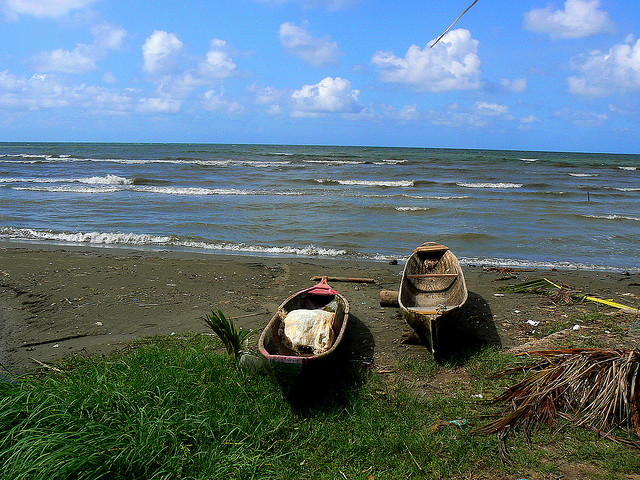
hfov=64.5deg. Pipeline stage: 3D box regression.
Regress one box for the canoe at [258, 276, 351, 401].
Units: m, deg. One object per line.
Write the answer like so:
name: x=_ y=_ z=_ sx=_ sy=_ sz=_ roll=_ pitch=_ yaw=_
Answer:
canoe: x=-0.181 y=1.531 z=7.869 sx=1.155 sy=0.768 sz=2.764 roll=1 pitch=9 yaw=7

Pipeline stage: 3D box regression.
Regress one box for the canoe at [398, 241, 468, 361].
canoe: x=2.126 y=0.977 z=9.611 sx=1.166 sy=0.724 sz=4.961 roll=0 pitch=12 yaw=12

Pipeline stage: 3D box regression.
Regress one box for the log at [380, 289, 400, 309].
log: x=1.390 y=1.138 z=10.093 sx=0.456 sy=0.320 sz=0.326 roll=4 pitch=0 yaw=4

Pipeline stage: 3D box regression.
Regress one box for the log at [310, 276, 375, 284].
log: x=0.491 y=0.893 z=11.502 sx=1.609 sy=0.166 sz=0.172 roll=1 pitch=10 yaw=3
